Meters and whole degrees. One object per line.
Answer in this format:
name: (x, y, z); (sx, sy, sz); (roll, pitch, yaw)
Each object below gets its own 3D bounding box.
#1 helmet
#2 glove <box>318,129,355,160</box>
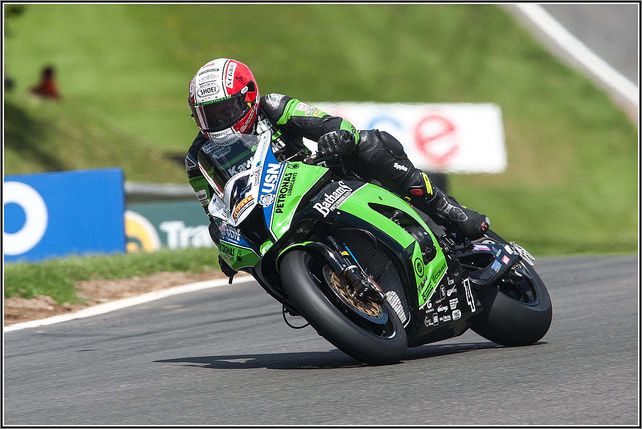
helmet: (-0.816, -0.964, 6.120); (0.560, 0.379, 0.580); (-6, 54, -7)
glove: (0.128, -0.589, 6.035); (0.230, 0.284, 0.151); (-24, 96, 9)
